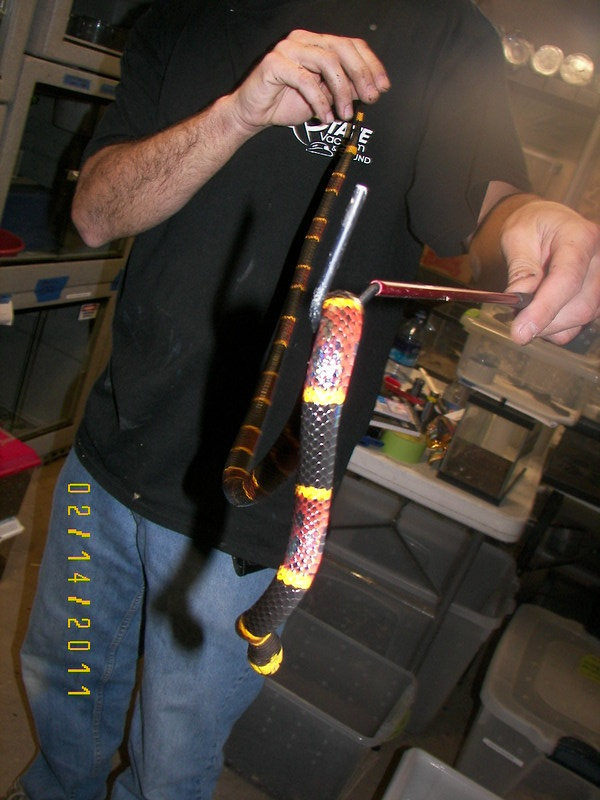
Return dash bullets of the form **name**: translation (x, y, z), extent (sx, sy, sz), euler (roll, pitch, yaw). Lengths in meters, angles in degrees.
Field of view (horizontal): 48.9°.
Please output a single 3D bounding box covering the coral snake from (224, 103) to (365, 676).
- **coral snake**: translation (0.028, -0.075, 0.753), extent (0.109, 0.102, 0.718), euler (32, 47, -23)
